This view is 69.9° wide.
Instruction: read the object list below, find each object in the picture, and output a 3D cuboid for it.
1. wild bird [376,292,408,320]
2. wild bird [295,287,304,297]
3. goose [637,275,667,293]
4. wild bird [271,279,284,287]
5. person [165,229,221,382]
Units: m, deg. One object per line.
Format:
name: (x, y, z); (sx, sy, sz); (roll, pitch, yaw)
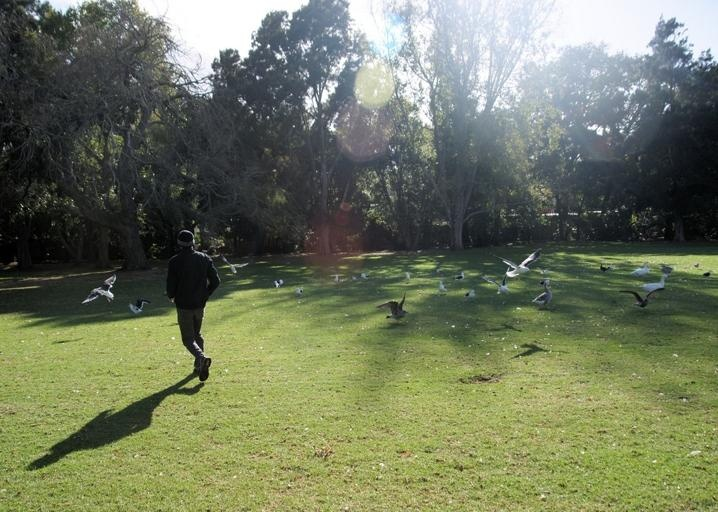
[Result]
wild bird: (0.824, 1.212, 13.811); (0.648, 0.437, 0.984); (-21, -21, 21)
wild bird: (-2.236, 1.331, 19.050); (0.330, 0.277, 0.163); (-2, 26, 9)
goose: (9.901, 0.936, 17.305); (0.533, 0.268, 0.516); (-13, 1, -25)
wild bird: (-3.479, 1.135, 21.727); (0.316, 0.245, 0.444); (18, 2, 28)
person: (-3.345, 0.912, 10.371); (0.973, 2.852, 1.567); (-5, 12, -18)
